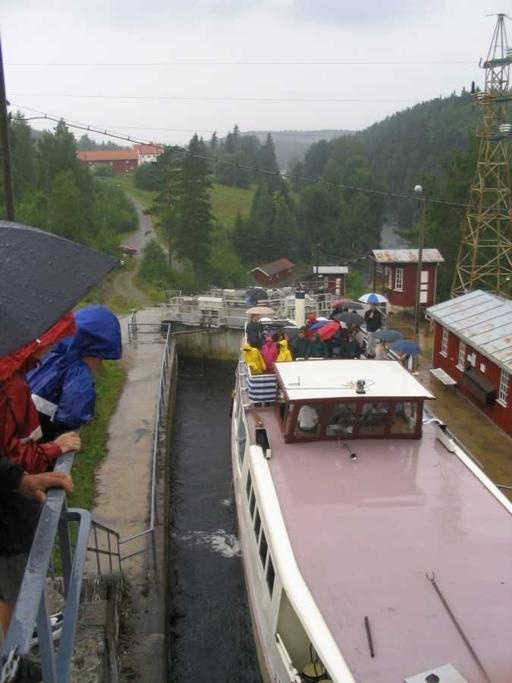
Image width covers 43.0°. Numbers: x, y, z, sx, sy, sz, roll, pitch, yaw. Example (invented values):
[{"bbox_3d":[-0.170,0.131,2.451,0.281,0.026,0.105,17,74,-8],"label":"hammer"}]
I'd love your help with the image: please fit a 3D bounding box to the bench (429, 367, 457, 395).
[{"bbox_3d":[6.790,1.537,23.422,0.462,0.291,1.627,-4,20,4],"label":"bench"}]
